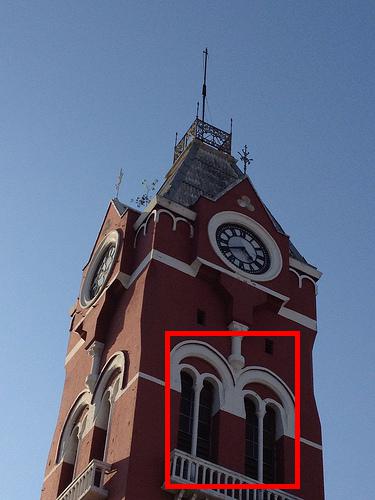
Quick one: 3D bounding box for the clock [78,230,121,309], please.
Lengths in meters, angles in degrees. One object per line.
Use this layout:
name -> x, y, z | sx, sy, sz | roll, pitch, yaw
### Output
clock -> -3.033, 0.938, 25.429 | 0.168, 2.269, 2.168 | 21, -40, -14

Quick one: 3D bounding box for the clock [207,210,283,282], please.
clock -> 1.906, -0.034, 24.803 | 2.113, 2.288, 0.132 | 28, -53, -30
